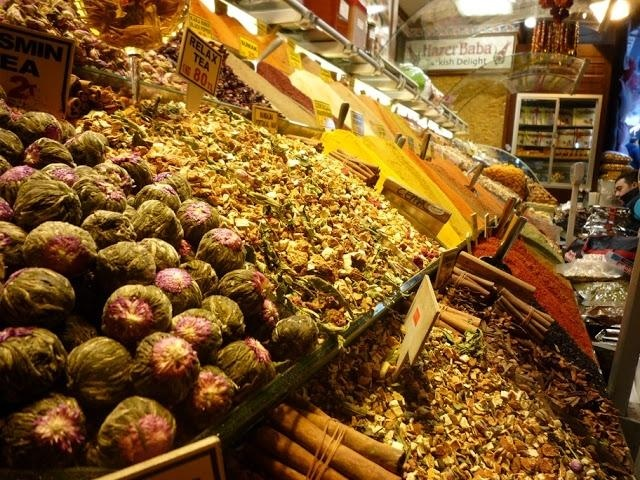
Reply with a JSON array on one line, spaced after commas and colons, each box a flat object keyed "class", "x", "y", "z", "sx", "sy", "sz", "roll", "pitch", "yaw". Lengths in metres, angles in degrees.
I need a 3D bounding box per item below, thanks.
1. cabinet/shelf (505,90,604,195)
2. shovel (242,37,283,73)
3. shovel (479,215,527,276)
[{"class": "cabinet/shelf", "x": 3.780, "y": -1.643, "z": 7.484, "sx": 1.739, "sy": 1.651, "sz": 0.557, "roll": -2, "pitch": 11, "yaw": -16}, {"class": "shovel", "x": -0.399, "y": -1.303, "z": 3.078, "sx": 0.164, "sy": 0.390, "sz": 0.047, "roll": 41, "pitch": -19, "yaw": 0}, {"class": "shovel", "x": 0.986, "y": 0.018, "z": 2.311, "sx": 0.190, "sy": 0.215, "sz": 0.292, "roll": 13, "pitch": 11, "yaw": 2}]
